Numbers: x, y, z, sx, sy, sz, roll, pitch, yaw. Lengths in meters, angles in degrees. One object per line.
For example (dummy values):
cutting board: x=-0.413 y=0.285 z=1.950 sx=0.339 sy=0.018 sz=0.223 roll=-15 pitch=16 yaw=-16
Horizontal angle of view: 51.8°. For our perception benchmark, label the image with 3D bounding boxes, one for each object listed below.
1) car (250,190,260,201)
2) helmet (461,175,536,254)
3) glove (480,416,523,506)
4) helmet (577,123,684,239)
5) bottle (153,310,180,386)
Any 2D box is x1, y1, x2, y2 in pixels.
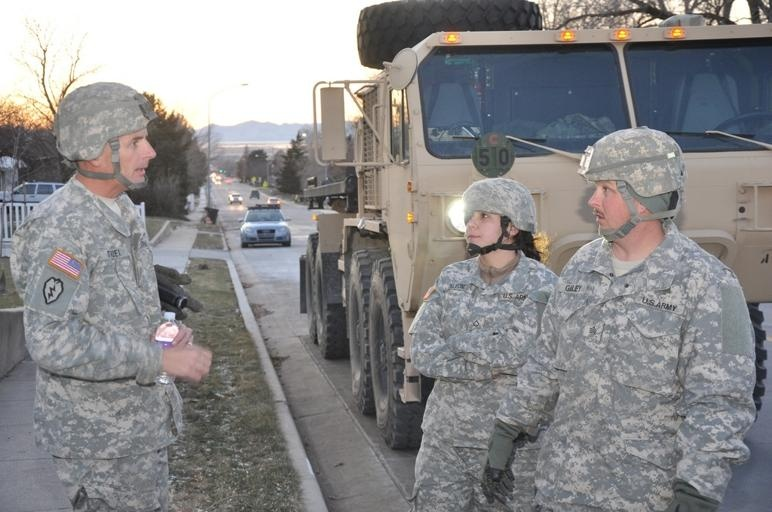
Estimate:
car: x=-17.408 y=-7.856 z=105.832 sx=1.440 sy=1.430 sz=3.147 roll=1 pitch=8 yaw=-9
helmet: x=0.742 y=-0.258 z=5.166 sx=0.526 sy=0.483 sz=0.416 roll=5 pitch=-6 yaw=-22
glove: x=0.602 y=1.121 z=4.254 sx=0.137 sy=0.431 sz=0.420 roll=13 pitch=-1 yaw=12
helmet: x=1.269 y=-0.376 z=4.161 sx=0.538 sy=0.599 sz=0.479 roll=-3 pitch=10 yaw=2
bottle: x=-1.224 y=0.495 z=4.465 sx=0.147 sy=0.512 sz=0.126 roll=-3 pitch=16 yaw=-34
